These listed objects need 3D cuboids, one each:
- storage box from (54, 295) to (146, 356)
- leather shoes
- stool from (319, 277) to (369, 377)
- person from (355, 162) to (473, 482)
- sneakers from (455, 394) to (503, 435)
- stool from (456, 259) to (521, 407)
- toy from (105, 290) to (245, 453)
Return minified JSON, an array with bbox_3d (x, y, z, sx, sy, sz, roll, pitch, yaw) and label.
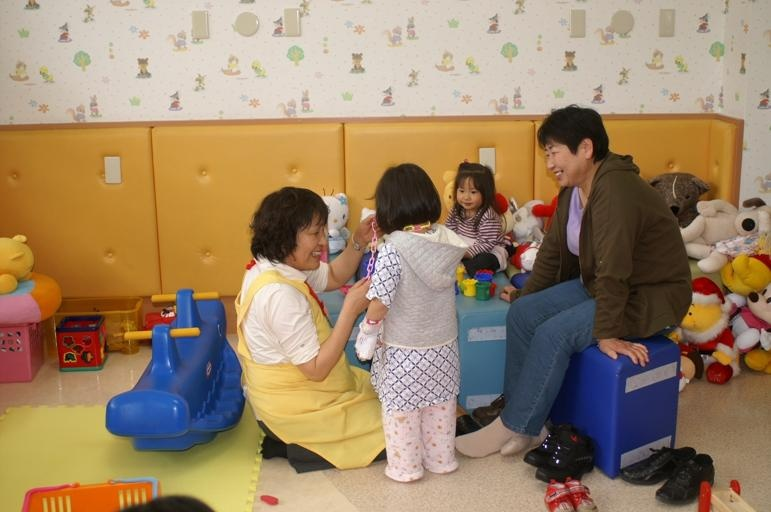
[{"bbox_3d":[-1.802,0.383,3.906,0.421,0.259,0.416,-2,8,-20],"label":"storage box"},{"bbox_3d":[1.279,0.928,2.681,0.279,0.099,0.220,-7,11,-30],"label":"leather shoes"},{"bbox_3d":[-0.165,0.304,2.609,0.213,0.425,0.163,1,16,13],"label":"stool"},{"bbox_3d":[0.119,0.309,2.670,0.475,1.395,0.294,-1,16,3],"label":"person"},{"bbox_3d":[0.419,0.781,3.056,0.327,0.126,0.110,-11,10,-10],"label":"sneakers"},{"bbox_3d":[0.488,0.454,3.529,0.412,0.795,0.793,-2,9,-6],"label":"stool"},{"bbox_3d":[-0.959,0.492,3.097,0.497,0.417,0.903,-1,22,1],"label":"toy"}]
